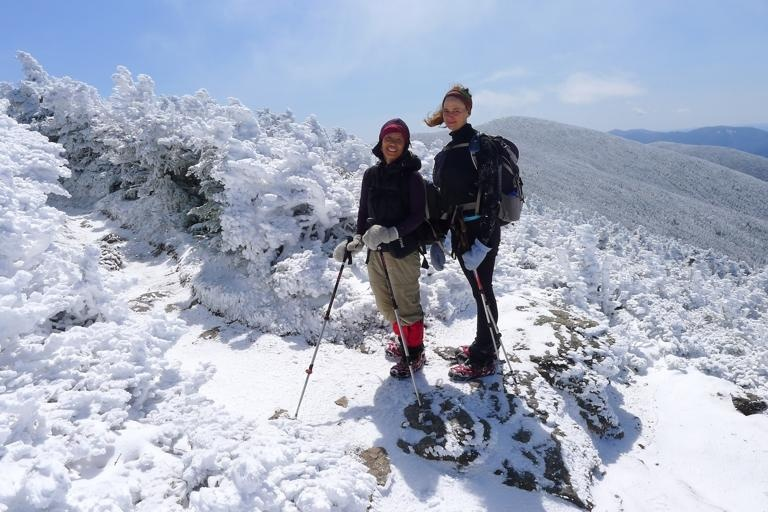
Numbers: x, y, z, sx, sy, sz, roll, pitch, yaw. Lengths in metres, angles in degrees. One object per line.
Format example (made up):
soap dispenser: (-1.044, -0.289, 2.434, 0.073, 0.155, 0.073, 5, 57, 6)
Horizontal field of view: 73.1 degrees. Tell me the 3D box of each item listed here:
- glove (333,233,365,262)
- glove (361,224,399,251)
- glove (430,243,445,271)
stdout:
glove: (-0.674, -0.148, 9.505, 0.242, 0.575, 0.451, 40, 18, -14)
glove: (-0.074, -0.327, 9.042, 0.638, 0.446, 0.312, 2, 17, 0)
glove: (0.969, -0.006, 9.368, 0.368, 0.430, 0.149, -18, 8, -6)
